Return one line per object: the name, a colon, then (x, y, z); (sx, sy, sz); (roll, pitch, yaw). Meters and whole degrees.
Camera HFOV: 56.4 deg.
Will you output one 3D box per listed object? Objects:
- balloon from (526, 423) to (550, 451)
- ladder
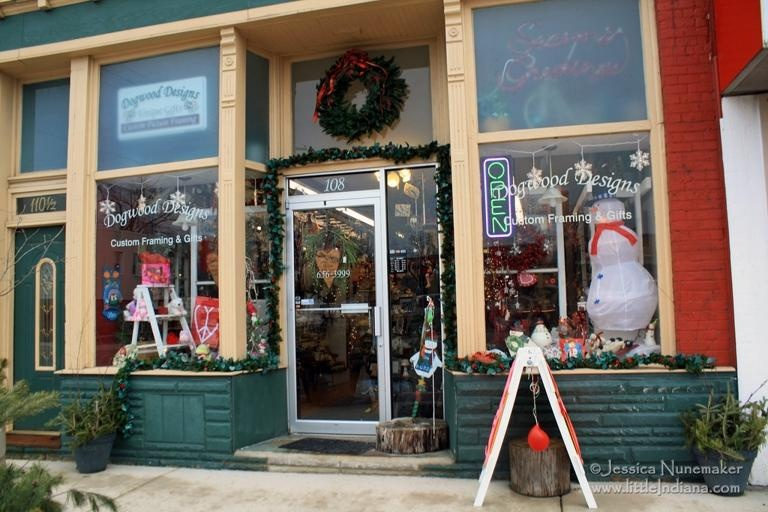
balloon: (1.620, 1.901, 7.486); (0.227, 0.305, 0.307); (-3, -4, 10)
ladder: (-2.899, 0.773, 9.220); (0.939, 1.227, 0.721); (-1, -3, 22)
